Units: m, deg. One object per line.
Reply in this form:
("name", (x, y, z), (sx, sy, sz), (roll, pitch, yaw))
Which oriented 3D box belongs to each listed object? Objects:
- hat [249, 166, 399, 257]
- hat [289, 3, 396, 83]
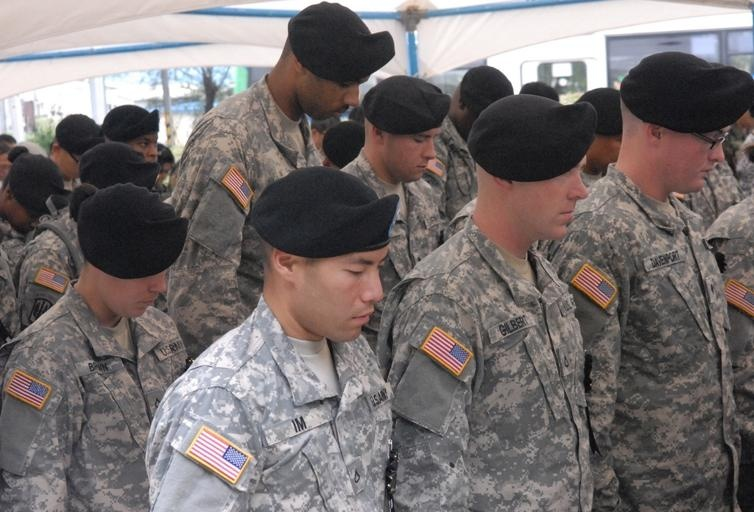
("hat", (-0.226, -0.190, 3.381), (0.462, 0.180, 0.417), (6, 14, 25))
("hat", (-0.215, -1.303, 4.878), (0.592, 0.444, 0.214), (1, -18, -6))
